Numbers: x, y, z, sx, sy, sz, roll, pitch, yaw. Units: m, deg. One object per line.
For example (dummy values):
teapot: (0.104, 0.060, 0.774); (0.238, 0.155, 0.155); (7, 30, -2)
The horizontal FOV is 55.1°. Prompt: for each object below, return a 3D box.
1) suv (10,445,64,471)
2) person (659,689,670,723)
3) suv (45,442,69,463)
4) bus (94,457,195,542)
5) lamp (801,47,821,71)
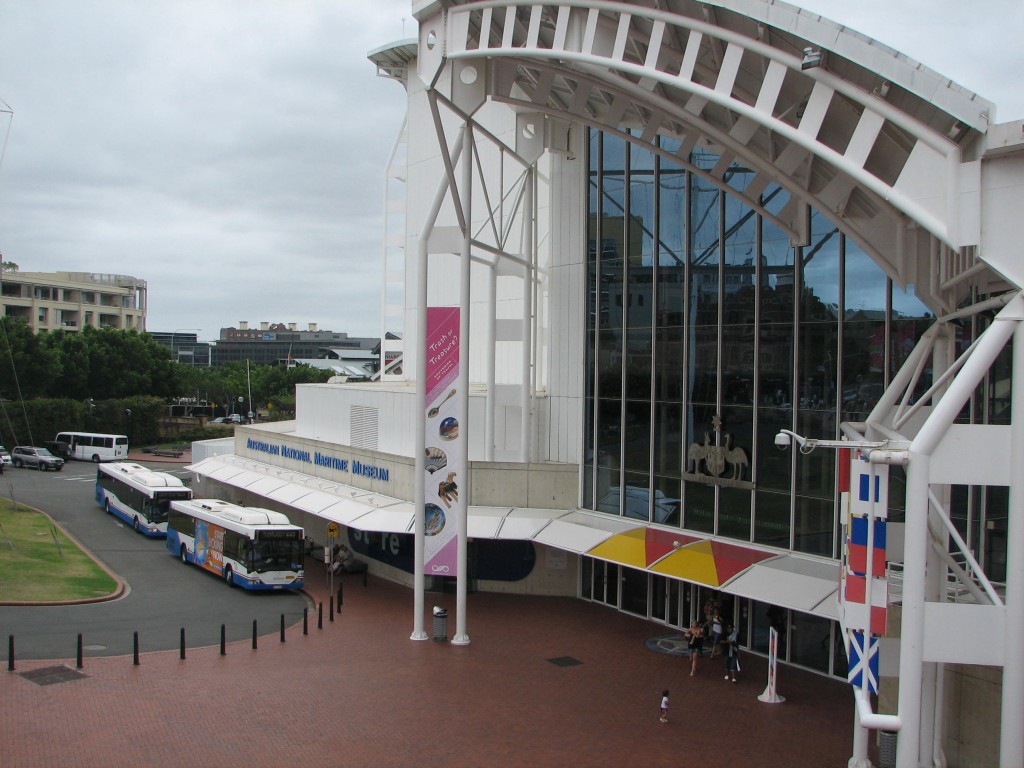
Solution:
suv: (-35.923, 5.500, 75.167); (4.058, 1.888, 1.970); (0, -1, 25)
person: (4.136, 8.316, 26.402); (0.277, 0.864, 1.255); (2, 3, 9)
suv: (-38.143, 5.640, 83.106); (1.598, 1.538, 2.636); (3, -3, -43)
bus: (-20.267, 5.932, 53.773); (2.811, 3.338, 10.350); (1, 3, -30)
lamp: (5.786, -6.221, 18.905); (0.368, 0.399, 0.161); (10, 9, 40)
